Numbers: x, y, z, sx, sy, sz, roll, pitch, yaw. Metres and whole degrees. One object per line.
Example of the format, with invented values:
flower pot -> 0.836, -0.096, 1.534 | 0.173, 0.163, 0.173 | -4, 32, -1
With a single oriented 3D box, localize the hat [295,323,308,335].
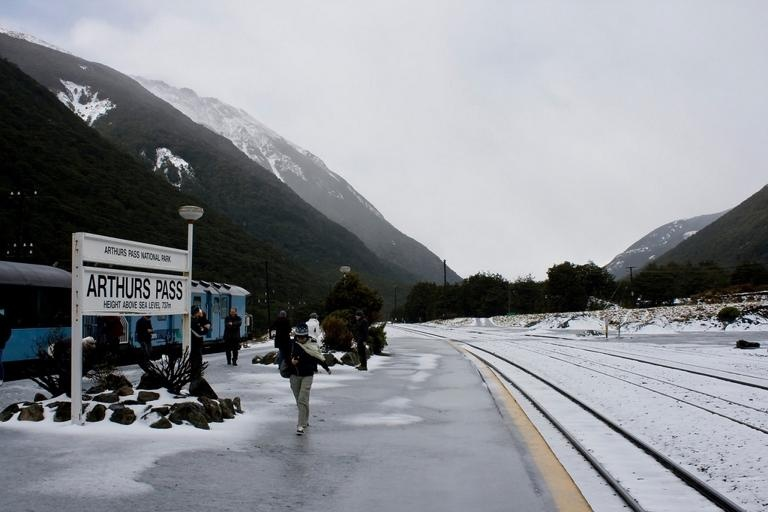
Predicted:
hat -> -1.737, 1.543, 11.795 | 0.236, 0.201, 0.251 | 1, 0, 33

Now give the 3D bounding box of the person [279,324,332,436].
person -> -1.734, 2.554, 11.852 | 0.870, 2.212, 1.489 | 2, -10, -12
